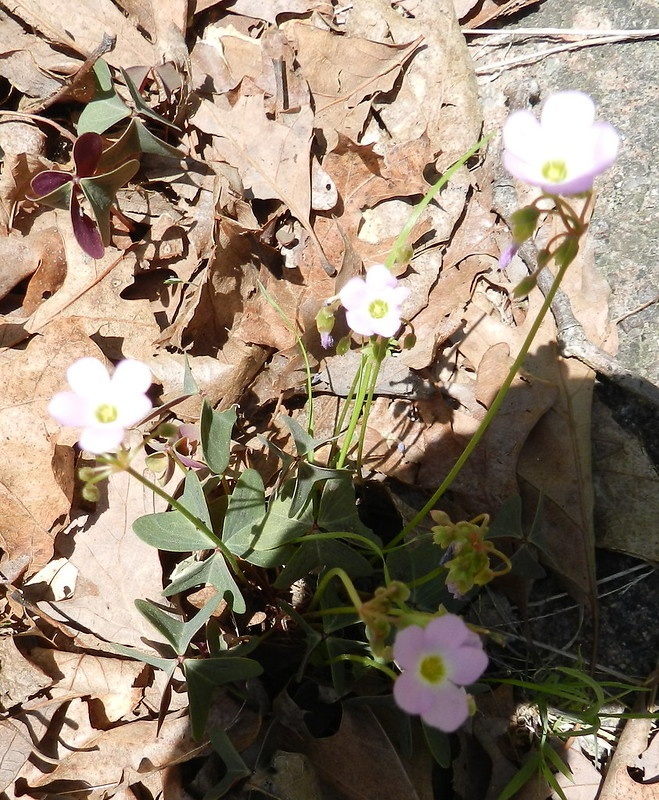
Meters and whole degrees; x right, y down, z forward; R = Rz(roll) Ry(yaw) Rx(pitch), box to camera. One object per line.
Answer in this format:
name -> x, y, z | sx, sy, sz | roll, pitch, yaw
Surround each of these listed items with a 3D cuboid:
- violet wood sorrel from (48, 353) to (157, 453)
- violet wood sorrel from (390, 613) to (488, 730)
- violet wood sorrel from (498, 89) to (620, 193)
violet wood sorrel -> -0.448, 0.029, 1.556 | 0.181, 0.128, 0.218 | 0, 55, -3
violet wood sorrel -> 0.212, 0.528, 1.564 | 0.226, 0.060, 0.229 | 2, 30, 36
violet wood sorrel -> 0.467, -0.502, 1.593 | 0.238, 0.222, 0.101 | 3, 71, 19
